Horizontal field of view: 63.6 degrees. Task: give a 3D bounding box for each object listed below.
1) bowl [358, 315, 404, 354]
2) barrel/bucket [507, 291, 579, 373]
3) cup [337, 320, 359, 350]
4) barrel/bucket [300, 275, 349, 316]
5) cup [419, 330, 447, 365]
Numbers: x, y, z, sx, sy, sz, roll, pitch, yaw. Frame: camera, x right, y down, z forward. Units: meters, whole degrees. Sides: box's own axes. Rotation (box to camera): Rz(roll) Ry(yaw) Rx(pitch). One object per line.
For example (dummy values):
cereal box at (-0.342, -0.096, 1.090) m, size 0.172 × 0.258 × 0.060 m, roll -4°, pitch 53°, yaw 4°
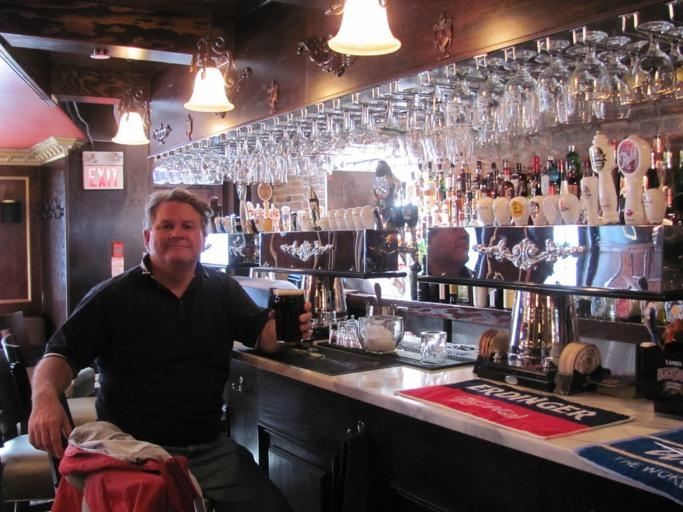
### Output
bowl at (0.202, 0.389, 2.812) m, size 0.191 × 0.141 × 0.199 m, roll 0°, pitch -2°, yaw 0°
barrel/bucket at (0.886, 0.327, 2.476) m, size 0.299 × 0.487 × 0.312 m, roll 4°, pitch -3°, yaw 0°
cup at (0.045, 0.442, 3.084) m, size 0.114 × 0.147 × 0.208 m, roll 3°, pitch -2°, yaw -34°
barrel/bucket at (-0.105, 0.251, 3.647) m, size 0.199 × 0.314 × 0.328 m, roll -5°, pitch -2°, yaw 8°
cup at (0.434, 0.448, 2.702) m, size 0.134 × 0.152 × 0.136 m, roll 1°, pitch 1°, yaw 0°
